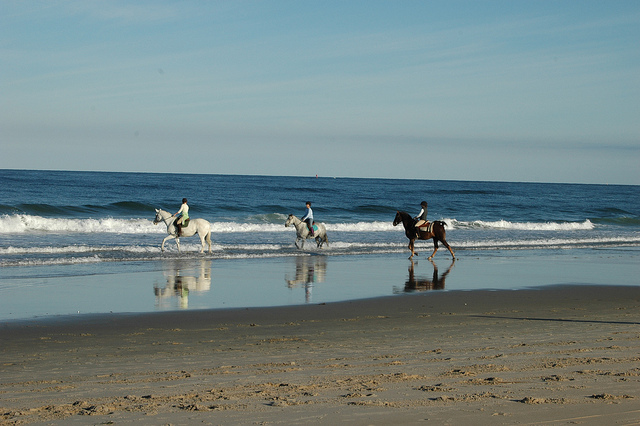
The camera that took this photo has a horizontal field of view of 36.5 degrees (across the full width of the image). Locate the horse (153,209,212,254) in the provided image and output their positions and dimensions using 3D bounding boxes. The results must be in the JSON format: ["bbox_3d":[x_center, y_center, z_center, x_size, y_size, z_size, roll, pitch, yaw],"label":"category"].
[{"bbox_3d":[-5.941,0.857,41.321,3.086,1.705,0.745,5,-6,-38],"label":"horse"}]

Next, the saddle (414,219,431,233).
[{"bbox_3d":[4.229,0.561,40.426,0.687,0.524,0.283,-3,12,-18],"label":"saddle"}]

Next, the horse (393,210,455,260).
[{"bbox_3d":[4.373,0.975,40.794,3.116,1.928,0.821,3,0,35],"label":"horse"}]

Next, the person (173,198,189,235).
[{"bbox_3d":[-5.852,0.202,40.981,0.430,1.417,0.394,-1,12,-11],"label":"person"}]

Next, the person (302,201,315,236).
[{"bbox_3d":[-0.522,0.272,43.134,0.525,1.545,0.595,3,12,10],"label":"person"}]

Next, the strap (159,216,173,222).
[{"bbox_3d":[-6.579,0.252,41.353,0.508,0.060,0.068,-23,21,9],"label":"strap"}]

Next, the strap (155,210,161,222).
[{"bbox_3d":[-6.949,0.156,41.395,0.108,0.657,0.096,28,-35,-15],"label":"strap"}]
